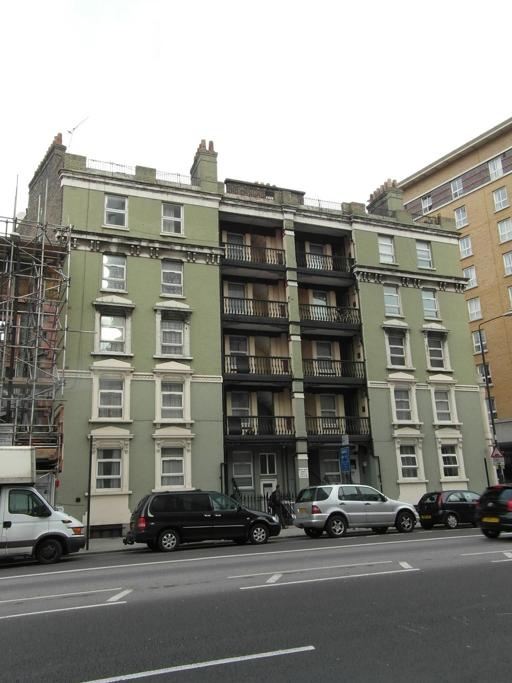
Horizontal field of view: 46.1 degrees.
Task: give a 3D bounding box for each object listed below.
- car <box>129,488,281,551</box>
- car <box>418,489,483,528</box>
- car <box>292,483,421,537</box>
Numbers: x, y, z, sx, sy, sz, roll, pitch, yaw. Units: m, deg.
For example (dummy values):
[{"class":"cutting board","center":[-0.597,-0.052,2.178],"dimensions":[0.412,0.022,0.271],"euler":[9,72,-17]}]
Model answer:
[{"class":"car","center":[-1.559,5.385,17.934],"dimensions":[4.068,1.426,1.769],"euler":[2,-21,-20]},{"class":"car","center":[7.438,6.026,22.347],"dimensions":[2.630,1.217,1.501],"euler":[2,-12,-24]},{"class":"car","center":[3.285,5.547,20.177],"dimensions":[3.756,1.430,1.819],"euler":[2,-15,-19]}]
